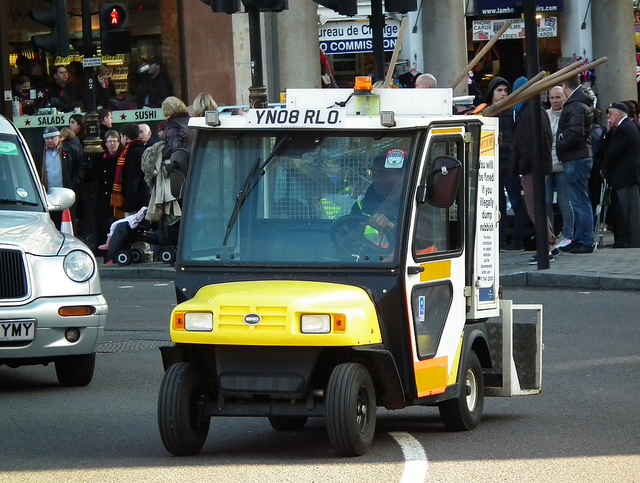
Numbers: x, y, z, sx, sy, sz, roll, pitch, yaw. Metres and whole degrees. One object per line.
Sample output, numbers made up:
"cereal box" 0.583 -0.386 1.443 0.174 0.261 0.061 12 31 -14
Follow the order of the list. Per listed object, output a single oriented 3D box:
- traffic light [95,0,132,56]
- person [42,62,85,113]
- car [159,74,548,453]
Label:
"traffic light" -3.919 -4.084 19.215 0.534 0.970 0.369 -3 5 -14
"person" -6.212 -3.704 24.397 0.796 1.256 1.078 -3 6 -36
"car" 0.413 0.163 7.902 1.896 2.328 3.048 0 -1 23
